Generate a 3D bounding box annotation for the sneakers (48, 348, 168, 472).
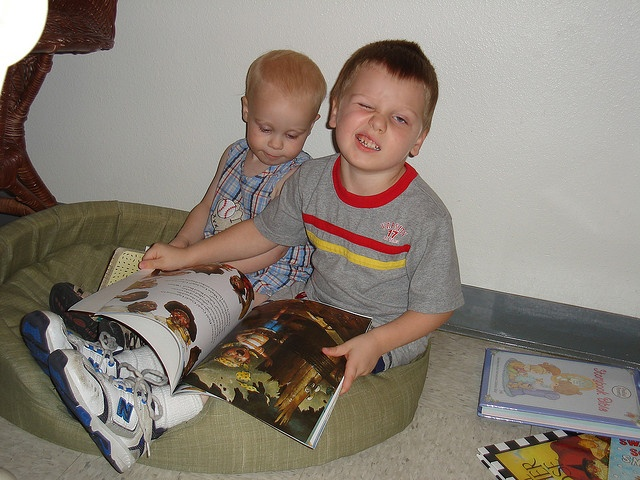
[{"bbox_3d":[-0.395,0.333,0.896,0.182,0.272,0.108,-4,22,-40],"label":"sneakers"}]
